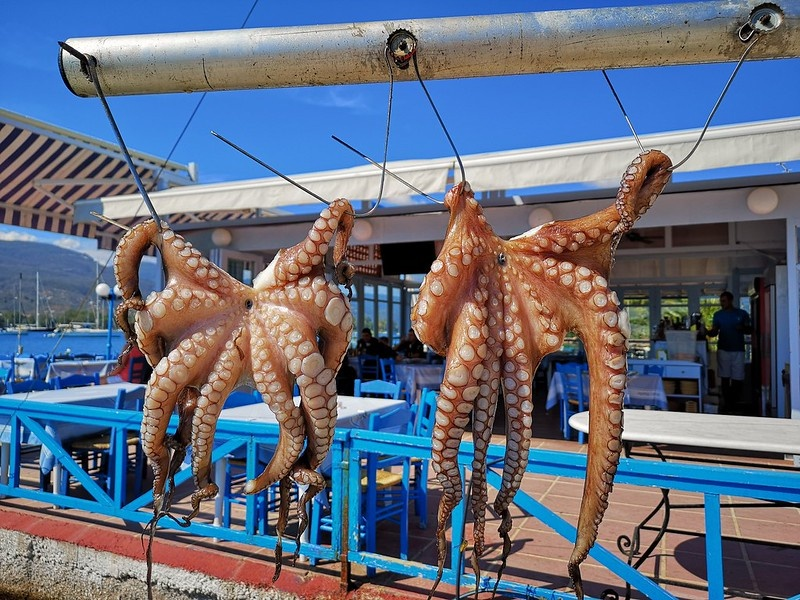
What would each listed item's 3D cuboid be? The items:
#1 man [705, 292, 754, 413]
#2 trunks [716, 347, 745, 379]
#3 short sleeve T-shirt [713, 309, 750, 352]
[{"bbox_3d":[4.967,0.778,13.441,0.668,1.814,0.541,-1,1,14],"label":"man"},{"bbox_3d":[5.031,0.947,13.497,0.291,0.580,0.385,10,-14,-31],"label":"trunks"},{"bbox_3d":[4.948,0.441,13.279,0.561,0.745,0.404,-5,3,21],"label":"short sleeve T-shirt"}]
